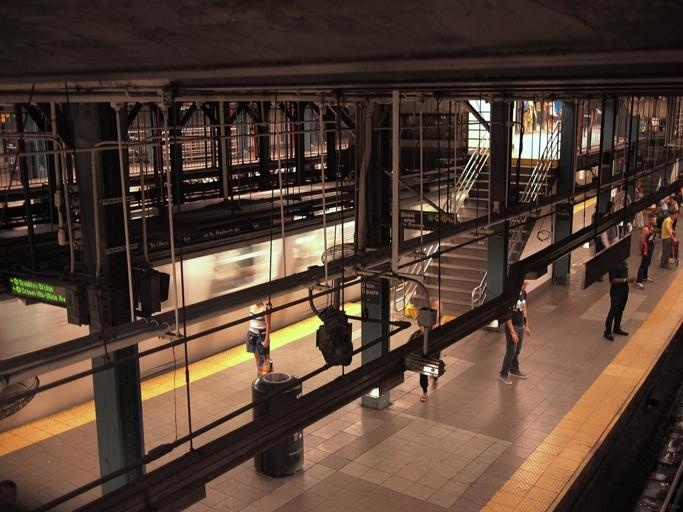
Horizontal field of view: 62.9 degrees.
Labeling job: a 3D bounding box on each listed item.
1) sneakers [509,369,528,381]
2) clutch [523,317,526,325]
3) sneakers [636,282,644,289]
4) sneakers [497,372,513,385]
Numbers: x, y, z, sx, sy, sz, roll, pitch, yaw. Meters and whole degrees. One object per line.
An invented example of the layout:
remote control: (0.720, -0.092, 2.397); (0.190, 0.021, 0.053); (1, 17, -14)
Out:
sneakers: (3.881, 2.601, 12.255); (0.352, 0.143, 0.134); (8, 20, 34)
clutch: (3.794, 1.351, 11.572); (0.016, 0.160, 0.112); (4, 13, 33)
sneakers: (9.750, 0.967, 18.214); (0.323, 0.121, 0.238); (4, -13, 31)
sneakers: (3.530, 2.636, 12.069); (0.129, 0.157, 0.381); (-12, 15, -31)
